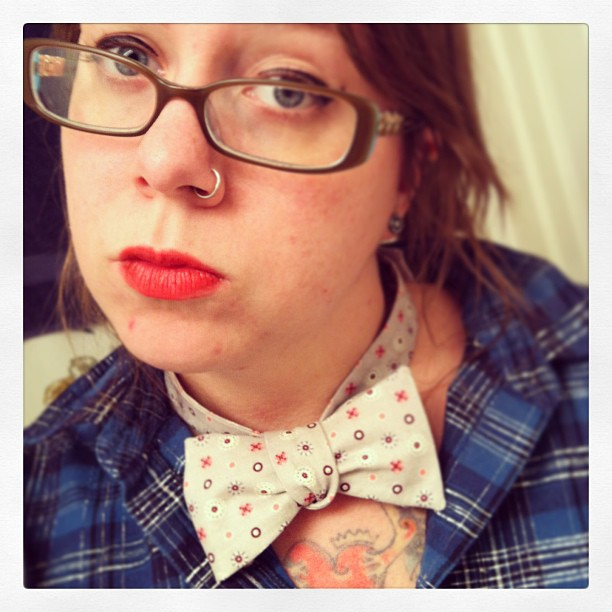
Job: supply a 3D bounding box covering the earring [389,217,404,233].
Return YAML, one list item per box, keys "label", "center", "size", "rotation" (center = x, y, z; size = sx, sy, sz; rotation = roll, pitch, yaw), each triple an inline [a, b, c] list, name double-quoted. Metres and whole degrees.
- label: "earring"
  center: [0.145, -0.130, 1.068]
  size: [0.022, 0.023, 0.008]
  rotation: [4, 15, -17]
